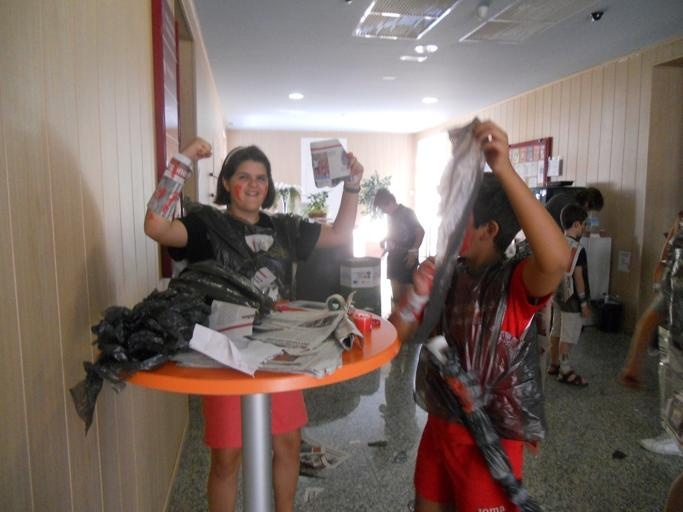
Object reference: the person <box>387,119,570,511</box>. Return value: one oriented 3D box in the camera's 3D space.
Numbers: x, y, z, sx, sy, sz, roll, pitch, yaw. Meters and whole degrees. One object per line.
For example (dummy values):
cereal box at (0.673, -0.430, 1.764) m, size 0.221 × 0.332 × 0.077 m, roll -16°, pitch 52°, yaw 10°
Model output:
person at (0.340, 0.251, 1.338) m, size 0.454 × 1.176 × 0.354 m, roll 3°, pitch 11°, yaw 26°

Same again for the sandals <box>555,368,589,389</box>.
sandals at (1.557, 0.815, 3.421) m, size 0.167 × 0.090 × 0.098 m, roll -2°, pitch 6°, yaw 12°

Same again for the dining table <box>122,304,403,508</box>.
dining table at (-0.201, 0.417, 1.648) m, size 0.628 × 0.785 × 0.668 m, roll 0°, pitch 2°, yaw -5°

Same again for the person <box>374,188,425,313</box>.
person at (0.547, -0.002, 4.904) m, size 0.449 × 1.400 × 0.422 m, roll 10°, pitch 28°, yaw 33°
